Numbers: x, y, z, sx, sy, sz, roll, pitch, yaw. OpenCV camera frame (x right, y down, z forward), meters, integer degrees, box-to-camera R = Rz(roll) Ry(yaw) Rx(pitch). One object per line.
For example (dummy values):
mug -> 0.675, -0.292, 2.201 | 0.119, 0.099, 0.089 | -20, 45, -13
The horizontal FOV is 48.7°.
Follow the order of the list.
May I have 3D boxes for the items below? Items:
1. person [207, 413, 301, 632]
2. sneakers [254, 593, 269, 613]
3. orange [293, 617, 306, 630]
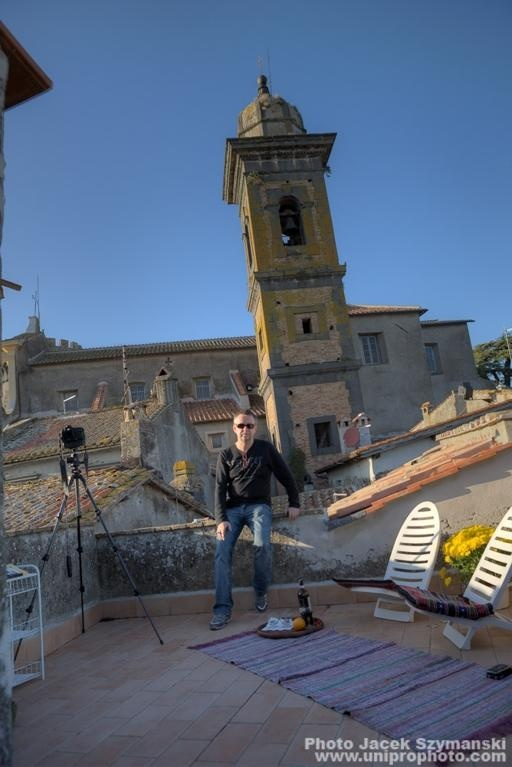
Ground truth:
person -> -0.126, 1.226, 5.445 | 1.125, 1.876, 0.475 | 1, -14, -39
sneakers -> 0.051, 2.078, 5.394 | 0.125, 0.154, 0.185 | -7, -11, -2
orange -> 0.331, 1.846, 4.361 | 0.074, 0.070, 0.071 | 9, -19, -1
